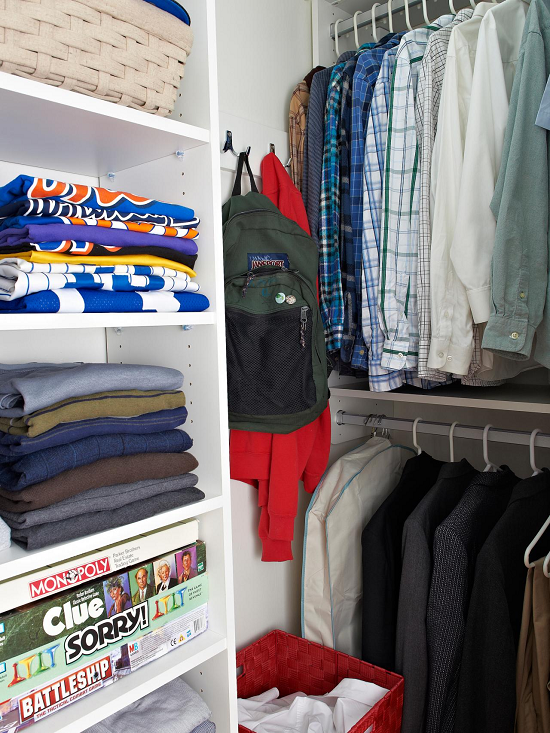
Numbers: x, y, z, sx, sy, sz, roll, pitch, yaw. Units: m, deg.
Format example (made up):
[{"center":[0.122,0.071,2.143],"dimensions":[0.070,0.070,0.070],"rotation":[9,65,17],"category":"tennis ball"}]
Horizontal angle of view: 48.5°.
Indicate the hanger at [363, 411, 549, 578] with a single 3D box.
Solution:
[{"center":[0.421,0.300,1.407],"dimensions":[0.436,0.287,0.034],"rotation":[3,-28,12],"category":"hanger"}]
